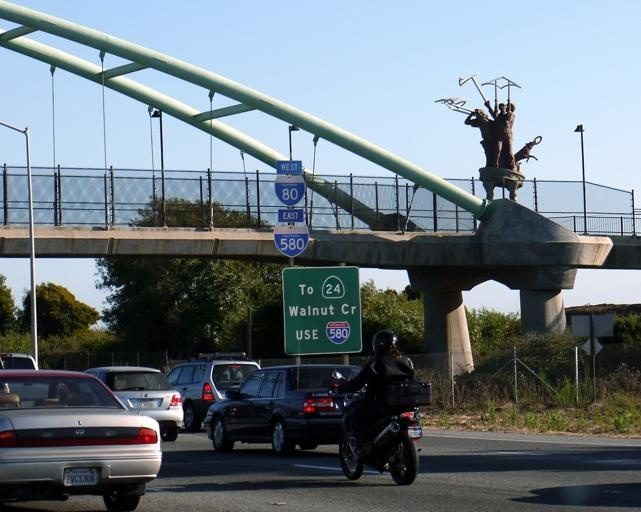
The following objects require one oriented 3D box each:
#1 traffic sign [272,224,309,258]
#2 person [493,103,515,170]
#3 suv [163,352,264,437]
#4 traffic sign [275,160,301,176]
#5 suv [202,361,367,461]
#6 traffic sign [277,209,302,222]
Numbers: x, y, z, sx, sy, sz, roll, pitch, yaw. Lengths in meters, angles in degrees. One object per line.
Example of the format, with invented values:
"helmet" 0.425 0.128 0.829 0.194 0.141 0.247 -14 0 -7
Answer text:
"traffic sign" -0.886 -0.467 47.840 0.929 0.990 0.995 -1 -1 -4
"person" 7.762 -5.075 69.273 0.792 2.938 0.907 -1 -1 6
"suv" -3.325 3.990 48.917 1.571 1.596 3.412 -1 0 -25
"traffic sign" -0.926 -2.612 47.876 0.719 0.447 0.804 -1 -1 -3
"suv" -1.037 3.916 41.720 2.024 1.510 3.331 2 -2 -36
"traffic sign" -0.920 -1.232 48.664 0.691 0.503 1.536 -1 -1 -3
